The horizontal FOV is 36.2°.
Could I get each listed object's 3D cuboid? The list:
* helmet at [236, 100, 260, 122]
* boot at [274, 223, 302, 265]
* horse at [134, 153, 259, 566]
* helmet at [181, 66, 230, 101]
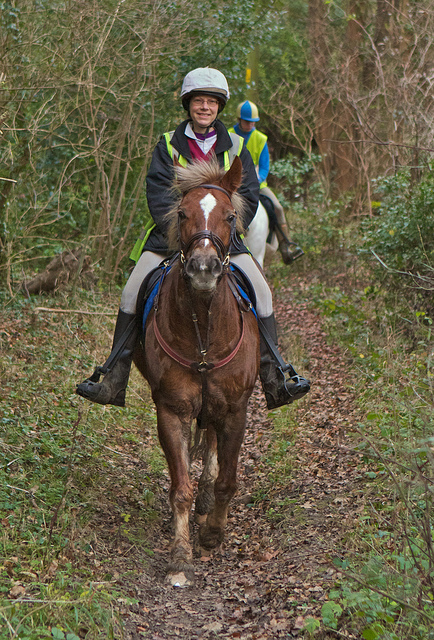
[{"bbox_3d":[0.441,-3.168,9.939,0.277,0.217,0.333,-15,46,-19],"label":"helmet"},{"bbox_3d":[1.279,-1.357,12.044,0.320,0.390,1.047,4,-29,27],"label":"boot"},{"bbox_3d":[-0.151,0.404,4.741,0.715,3.096,1.365,7,14,9],"label":"horse"},{"bbox_3d":[-0.093,-1.948,5.423,0.376,0.242,0.271,3,13,-5],"label":"helmet"}]
